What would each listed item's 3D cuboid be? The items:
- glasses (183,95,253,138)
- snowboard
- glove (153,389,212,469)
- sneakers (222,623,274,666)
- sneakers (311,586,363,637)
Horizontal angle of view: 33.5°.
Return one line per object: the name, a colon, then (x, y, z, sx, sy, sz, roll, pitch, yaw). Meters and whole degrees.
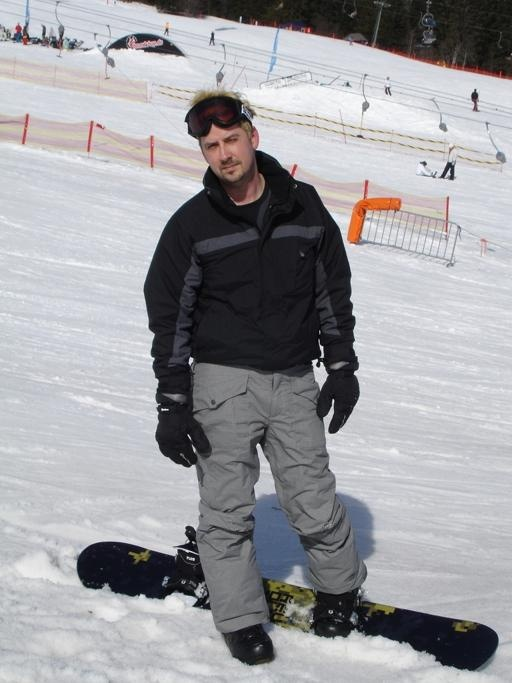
glasses: (-0.145, -0.858, 3.246, 0.216, 0.092, 0.215, -13, -27, 15)
snowboard: (0.076, 1.040, 3.278, 1.448, 0.236, 0.172, 8, -40, 5)
glove: (-0.276, 0.333, 3.148, 0.216, 0.269, 0.110, 7, 10, -20)
sneakers: (-0.025, 1.090, 3.023, 0.083, 0.081, 0.213, -9, -7, -25)
sneakers: (0.309, 1.050, 3.247, 0.155, 0.155, 0.182, 0, -10, 8)
